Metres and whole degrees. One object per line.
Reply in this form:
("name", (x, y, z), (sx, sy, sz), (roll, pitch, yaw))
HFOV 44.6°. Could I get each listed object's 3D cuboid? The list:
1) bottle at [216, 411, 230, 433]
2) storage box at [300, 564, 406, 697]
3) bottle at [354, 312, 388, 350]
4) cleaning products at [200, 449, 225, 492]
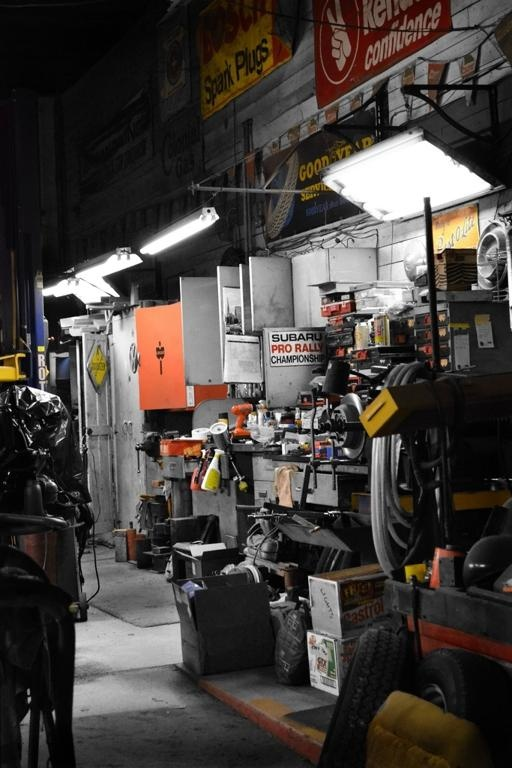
("bottle", (-0.321, 0.384, 6.346), (0.150, 0.290, 0.159), (-1, 7, 0))
("storage box", (0.417, 1.215, 3.120), (0.372, 0.615, 0.330), (-3, 0, -40))
("bottle", (0.934, -0.416, 4.974), (0.154, 0.327, 0.293), (-1, 0, -40))
("cleaning products", (-0.410, 0.823, 5.943), (0.192, 0.399, 0.290), (-3, 0, -11))
